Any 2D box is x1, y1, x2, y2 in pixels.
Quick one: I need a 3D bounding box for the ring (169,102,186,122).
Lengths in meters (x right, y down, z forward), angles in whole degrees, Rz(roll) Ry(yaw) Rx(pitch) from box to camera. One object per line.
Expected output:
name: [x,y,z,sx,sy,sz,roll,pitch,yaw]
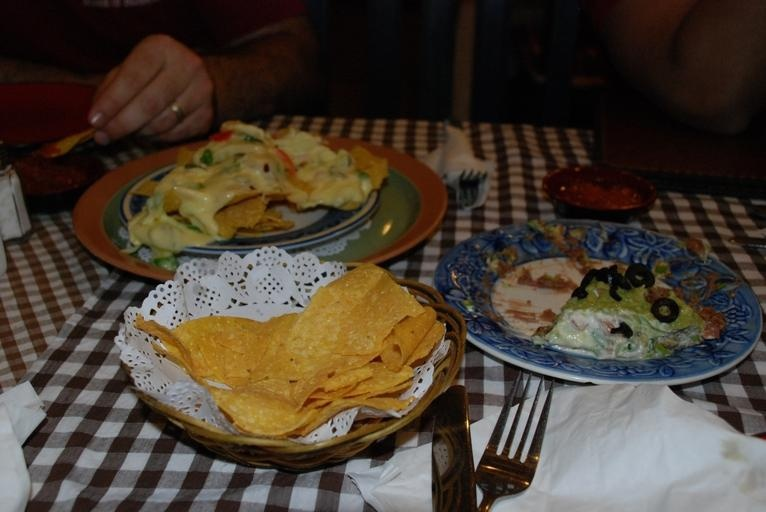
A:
ring: [-0.765,-0.538,2.254,0.045,0.017,0.061,-36,98,-31]
